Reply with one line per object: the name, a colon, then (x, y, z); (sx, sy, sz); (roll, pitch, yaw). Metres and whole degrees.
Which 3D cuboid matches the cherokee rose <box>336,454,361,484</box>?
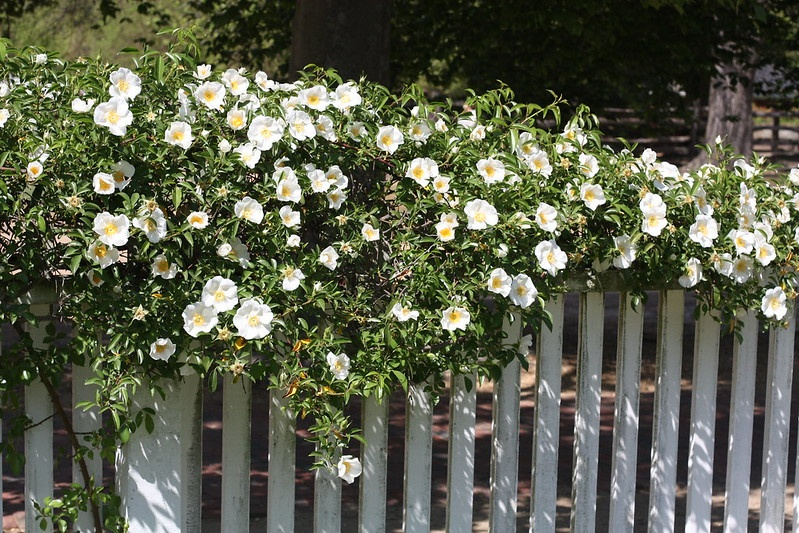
cherokee rose: (-0.321, 1.252, 10.390); (0.165, 0.168, 0.078); (-23, 25, -32)
